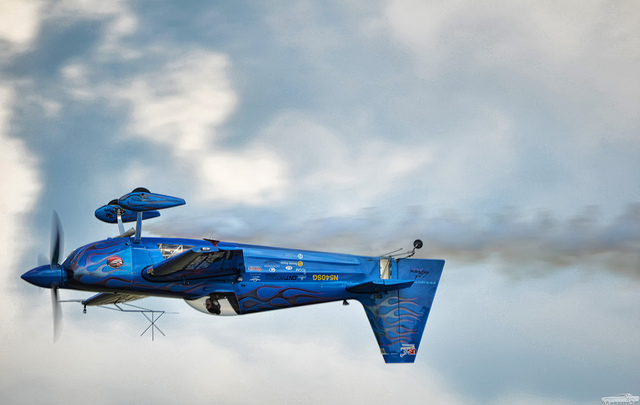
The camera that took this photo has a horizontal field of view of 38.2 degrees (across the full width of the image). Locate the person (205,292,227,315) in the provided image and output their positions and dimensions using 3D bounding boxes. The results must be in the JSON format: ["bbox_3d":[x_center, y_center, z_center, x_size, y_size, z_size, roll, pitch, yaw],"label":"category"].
[{"bbox_3d":[-3.474,3.338,30.769,0.677,0.722,0.506,10,-9,-5],"label":"person"}]

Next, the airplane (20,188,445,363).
[{"bbox_3d":[-2.311,2.550,31.088,10.277,2.885,9.610,3,-12,-4],"label":"airplane"}]
